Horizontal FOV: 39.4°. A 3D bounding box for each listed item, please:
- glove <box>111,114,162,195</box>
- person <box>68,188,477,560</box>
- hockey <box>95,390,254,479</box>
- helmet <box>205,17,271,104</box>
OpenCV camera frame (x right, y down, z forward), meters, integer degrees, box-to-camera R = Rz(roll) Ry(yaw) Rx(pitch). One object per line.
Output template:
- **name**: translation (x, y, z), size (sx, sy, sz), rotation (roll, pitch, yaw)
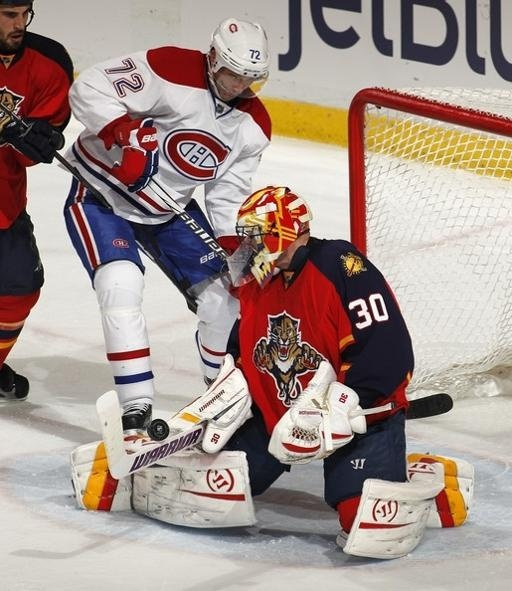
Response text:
- **glove**: translation (-0.320, -0.395, 2.055), size (0.105, 0.184, 0.165), rotation (13, -5, 29)
- **person**: translation (0.016, 0.138, 1.774), size (1.030, 0.763, 0.602), rotation (8, 6, 34)
- **hockey**: translation (-0.193, 0.266, 1.607), size (0.444, 0.203, 0.057), rotation (-11, 30, -44)
- **helmet**: translation (-0.054, -0.694, 2.099), size (0.170, 0.218, 0.141), rotation (2, 6, -6)
